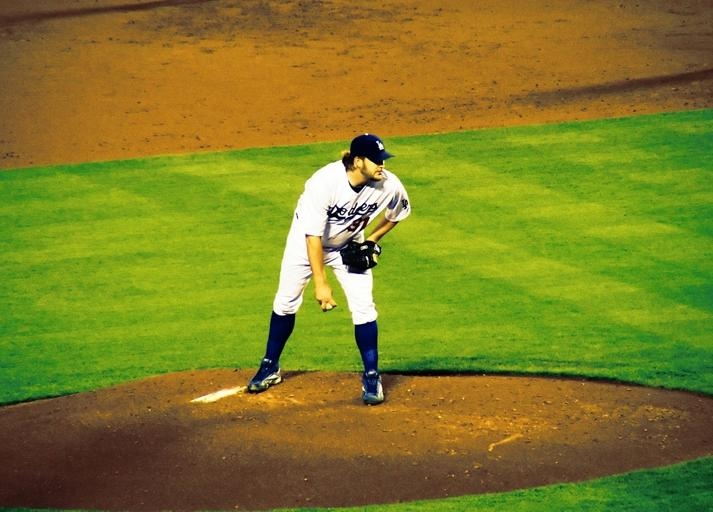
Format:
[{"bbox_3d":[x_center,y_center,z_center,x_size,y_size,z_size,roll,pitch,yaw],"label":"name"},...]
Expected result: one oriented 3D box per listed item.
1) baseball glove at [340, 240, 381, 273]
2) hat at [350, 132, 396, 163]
[{"bbox_3d":[0.046,0.002,16.552,0.524,0.438,0.212,0,10,-2],"label":"baseball glove"},{"bbox_3d":[0.211,-1.471,16.226,0.523,0.269,0.359,7,25,13],"label":"hat"}]
